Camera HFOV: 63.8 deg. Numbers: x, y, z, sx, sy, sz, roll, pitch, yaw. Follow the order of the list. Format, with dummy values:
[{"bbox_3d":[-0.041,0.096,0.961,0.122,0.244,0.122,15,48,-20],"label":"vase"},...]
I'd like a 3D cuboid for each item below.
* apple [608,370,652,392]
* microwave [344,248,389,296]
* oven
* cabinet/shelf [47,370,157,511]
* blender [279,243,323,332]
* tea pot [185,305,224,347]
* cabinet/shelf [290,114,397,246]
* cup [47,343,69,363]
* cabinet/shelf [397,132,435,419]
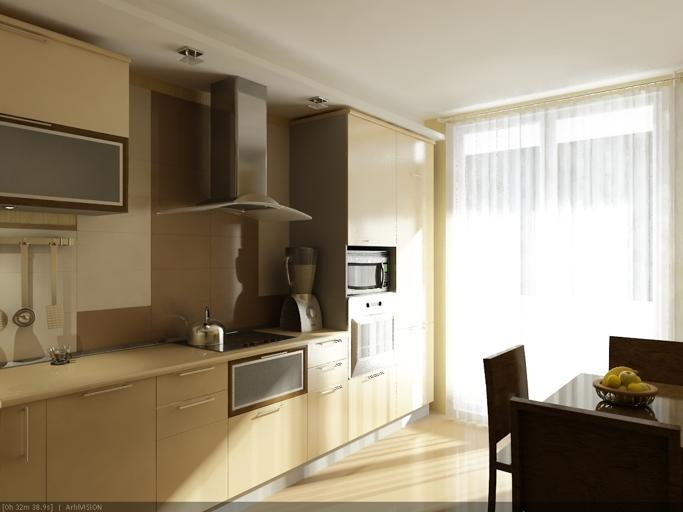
[{"bbox_3d":[1.511,0.659,2.887,0.191,0.081,0.194,1,2,17],"label":"apple"},{"bbox_3d":[0.162,0.143,4.809,0.313,0.377,0.600,2,1,45],"label":"microwave"},{"bbox_3d":[0.189,0.662,4.762,0.350,0.628,0.669,2,2,39],"label":"oven"},{"bbox_3d":[-1.365,1.056,3.341,0.610,0.900,0.652,-4,-4,33],"label":"cabinet/shelf"},{"bbox_3d":[-0.320,0.267,4.427,0.329,0.663,0.207,1,4,-6],"label":"blender"},{"bbox_3d":[-0.967,0.511,3.944,0.271,0.287,0.267,0,-14,0],"label":"tea pot"},{"bbox_3d":[-0.031,-0.643,4.614,0.587,1.094,1.109,-3,-4,32],"label":"cabinet/shelf"},{"bbox_3d":[-1.739,0.599,3.376,0.101,0.108,0.112,5,-8,-41],"label":"cup"},{"bbox_3d":[0.702,0.149,5.197,0.266,2.551,0.766,4,4,29],"label":"cabinet/shelf"}]
